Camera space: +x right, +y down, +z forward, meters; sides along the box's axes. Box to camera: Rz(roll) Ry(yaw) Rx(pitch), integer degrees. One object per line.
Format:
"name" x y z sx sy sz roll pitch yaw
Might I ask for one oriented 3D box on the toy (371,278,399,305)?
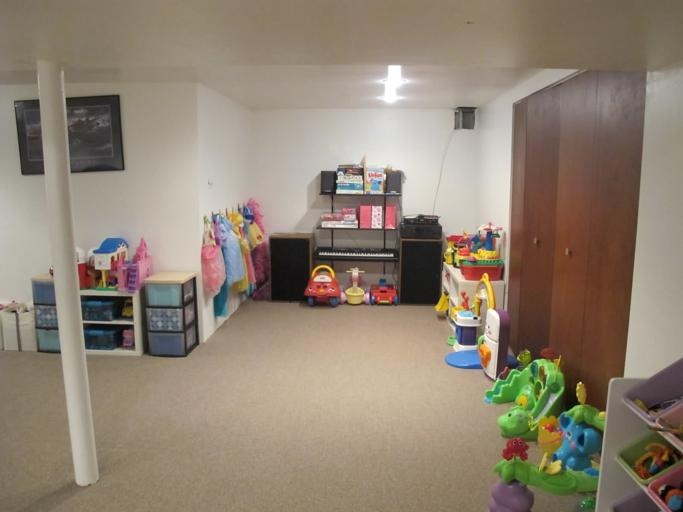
"toy" 0.559 0.477 7.108 0.367 0.221 0.416 0 14 1

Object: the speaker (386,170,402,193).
"speaker" 0.666 -0.988 6.989 0.235 0.395 0.255 0 8 -3

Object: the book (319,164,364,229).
"book" -0.002 -0.818 7.175 0.668 0.944 0.321 3 16 9

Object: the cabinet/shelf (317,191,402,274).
"cabinet/shelf" 0.264 -0.362 7.271 0.943 1.074 0.367 1 6 6

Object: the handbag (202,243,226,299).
"handbag" -1.374 0.156 5.620 0.297 0.608 0.199 -8 15 -31

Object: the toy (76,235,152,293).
"toy" -2.280 0.072 5.297 0.626 0.457 0.405 1 14 3

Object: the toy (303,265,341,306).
"toy" -0.255 0.344 7.133 0.437 0.525 0.834 1 9 -1

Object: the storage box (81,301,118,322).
"storage box" -2.416 0.502 5.202 0.209 0.155 0.229 3 6 14

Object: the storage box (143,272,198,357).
"storage box" -1.736 0.571 5.349 0.434 0.785 0.418 0 13 1

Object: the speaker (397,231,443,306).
"speaker" 1.081 0.023 7.106 0.579 1.053 0.606 0 42 7

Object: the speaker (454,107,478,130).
"speaker" 1.632 -1.812 6.933 0.261 0.295 0.242 0 7 1

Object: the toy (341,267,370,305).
"toy" 0.181 0.364 7.219 0.234 0.378 0.672 1 14 2

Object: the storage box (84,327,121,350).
"storage box" -2.435 0.828 5.296 0.226 0.166 0.246 2 5 4

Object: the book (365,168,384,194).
"book" 0.418 -0.997 6.971 0.285 0.444 0.054 -1 9 -4
